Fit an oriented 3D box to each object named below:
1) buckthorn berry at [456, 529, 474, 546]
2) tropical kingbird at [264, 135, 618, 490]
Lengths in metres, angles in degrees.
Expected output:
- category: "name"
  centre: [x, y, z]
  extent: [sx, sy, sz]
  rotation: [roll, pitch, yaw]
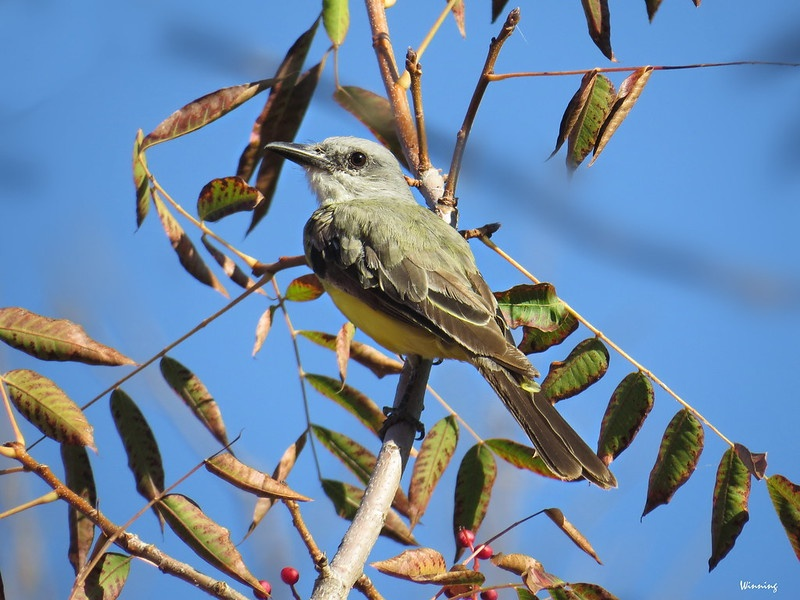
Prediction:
- category: "buckthorn berry"
  centre: [0.282, 1.022, 6.404]
  extent: [0.065, 0.066, 0.087]
  rotation: [-26, -88, -4]
- category: "tropical kingbird"
  centre: [0.091, -0.079, 7.198]
  extent: [1.445, 2.042, 0.754]
  rotation: [13, -66, -11]
